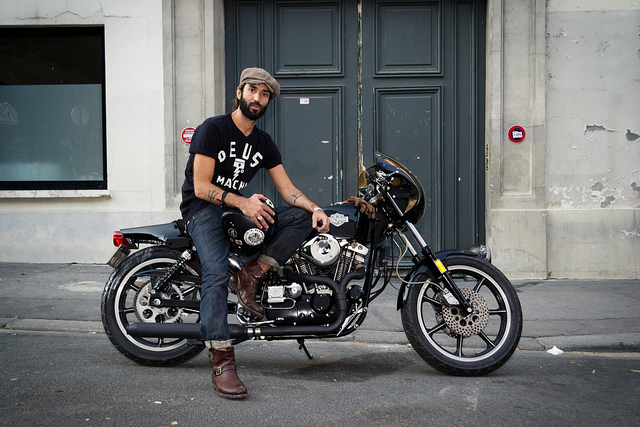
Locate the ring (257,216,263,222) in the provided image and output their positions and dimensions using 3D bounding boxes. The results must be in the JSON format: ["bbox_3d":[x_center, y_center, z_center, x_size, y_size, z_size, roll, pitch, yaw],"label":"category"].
[{"bbox_3d":[-0.599,0.058,6.036,0.044,0.059,0.019,-1,12,-6],"label":"ring"}]

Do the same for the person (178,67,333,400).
[{"bbox_3d":[-0.747,0.122,6.174,1.222,3.128,1.118,-4,13,-19],"label":"person"}]
